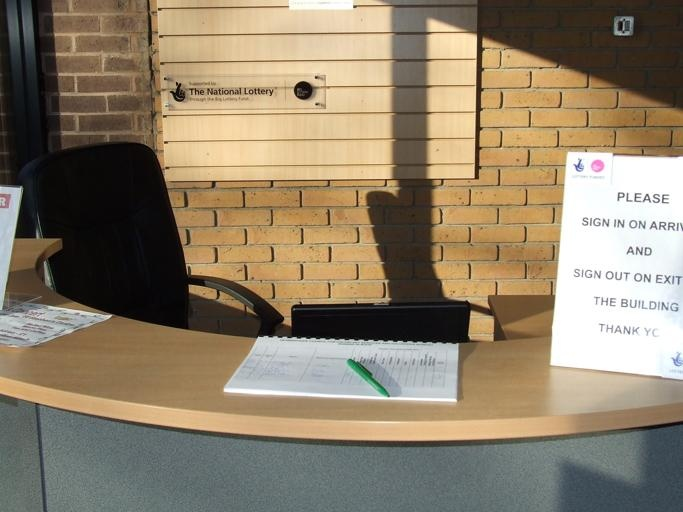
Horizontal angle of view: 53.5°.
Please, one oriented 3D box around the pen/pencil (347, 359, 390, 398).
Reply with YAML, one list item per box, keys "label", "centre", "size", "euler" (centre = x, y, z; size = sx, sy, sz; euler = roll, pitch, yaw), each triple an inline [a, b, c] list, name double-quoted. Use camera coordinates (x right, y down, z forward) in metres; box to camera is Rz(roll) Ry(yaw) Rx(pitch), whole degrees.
- label: "pen/pencil"
  centre: [0.052, 0.232, 1.268]
  size: [0.015, 0.010, 0.085]
  euler: [5, 27, -45]
